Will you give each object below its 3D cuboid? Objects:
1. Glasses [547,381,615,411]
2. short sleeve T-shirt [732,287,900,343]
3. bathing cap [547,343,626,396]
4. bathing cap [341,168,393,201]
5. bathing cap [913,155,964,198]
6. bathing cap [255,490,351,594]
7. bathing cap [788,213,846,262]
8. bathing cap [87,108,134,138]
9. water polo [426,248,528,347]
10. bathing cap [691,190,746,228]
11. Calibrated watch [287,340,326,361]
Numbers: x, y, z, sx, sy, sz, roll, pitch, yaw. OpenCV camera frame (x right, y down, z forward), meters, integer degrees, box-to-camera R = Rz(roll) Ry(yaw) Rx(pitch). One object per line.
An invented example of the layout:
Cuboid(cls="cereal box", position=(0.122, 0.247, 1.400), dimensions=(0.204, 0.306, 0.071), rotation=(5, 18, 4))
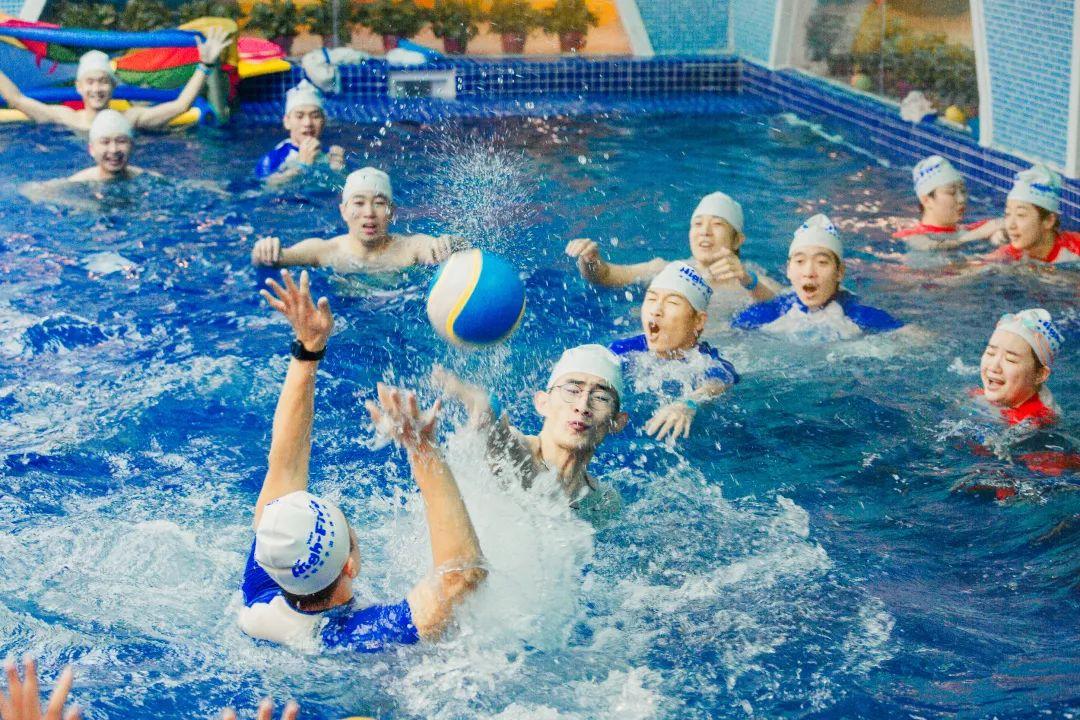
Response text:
Cuboid(cls="Glasses", position=(0.215, 0.185, 5.313), dimensions=(0.319, 0.142, 0.122), rotation=(2, 33, 3))
Cuboid(cls="short sleeve T-shirt", position=(2.044, -0.312, 7.649), dimensions=(0.202, 0.343, 1.193), rotation=(-15, 8, -29))
Cuboid(cls="bathing cap", position=(0.245, -0.002, 5.428), dimensions=(0.307, 0.196, 0.284), rotation=(-4, 27, -26))
Cuboid(cls="bathing cap", position=(-1.322, -1.315, 8.220), dimensions=(0.324, 0.229, 0.297), rotation=(-13, 36, -14))
Cuboid(cls="bathing cap", position=(3.332, -1.559, 9.060), dimensions=(0.433, 0.292, 0.345), rotation=(-19, 7, -28))
Cuboid(cls="bathing cap", position=(-0.966, 0.743, 4.558), dimensions=(0.409, 0.393, 0.323), rotation=(-12, -3, 8))
Cuboid(cls="bathing cap", position=(1.926, -0.875, 7.542), dimensions=(0.346, 0.261, 0.354), rotation=(6, 8, 20))
Cuboid(cls="bathing cap", position=(-3.739, -2.033, 9.349), dimensions=(0.326, 0.272, 0.341), rotation=(-3, 5, -1))
Cuboid(cls="water polo", position=(-0.248, -0.279, 5.397), dimensions=(0.481, 0.377, 0.458), rotation=(12, 64, 52))
Cuboid(cls="bathing cap", position=(1.306, -1.149, 7.913), dimensions=(0.293, 0.319, 0.359), rotation=(0, 40, 11))
Cuboid(cls="Calibrated watch", position=(-1.062, -0.033, 4.811), dimensions=(0.146, 0.079, 0.149), rotation=(2, -9, 45))
